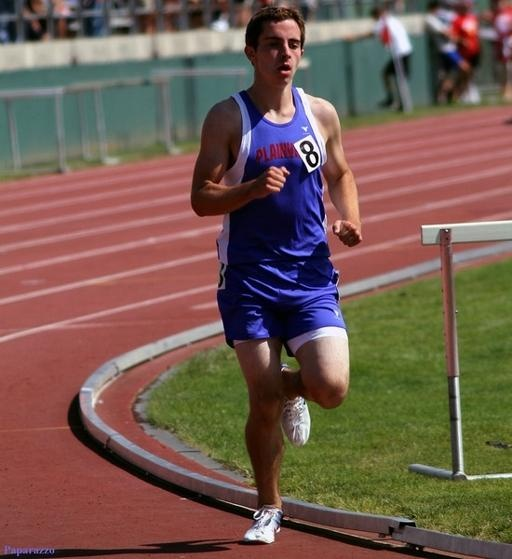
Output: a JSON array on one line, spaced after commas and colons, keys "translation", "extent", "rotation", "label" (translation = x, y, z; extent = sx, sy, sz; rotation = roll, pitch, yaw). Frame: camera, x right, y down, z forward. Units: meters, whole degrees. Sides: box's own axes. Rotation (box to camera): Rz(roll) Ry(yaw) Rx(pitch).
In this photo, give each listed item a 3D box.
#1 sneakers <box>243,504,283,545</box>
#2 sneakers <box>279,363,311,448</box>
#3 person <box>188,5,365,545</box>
[{"translation": [0.015, 0.863, 3.632], "extent": [0.073, 0.067, 0.181], "rotation": [2, -1, 13], "label": "sneakers"}, {"translation": [0.156, 0.482, 4.012], "extent": [0.123, 0.307, 0.131], "rotation": [-7, 2, 11], "label": "sneakers"}, {"translation": [0.096, -0.028, 3.732], "extent": [0.622, 1.896, 0.600], "rotation": [-4, 11, -6], "label": "person"}]
